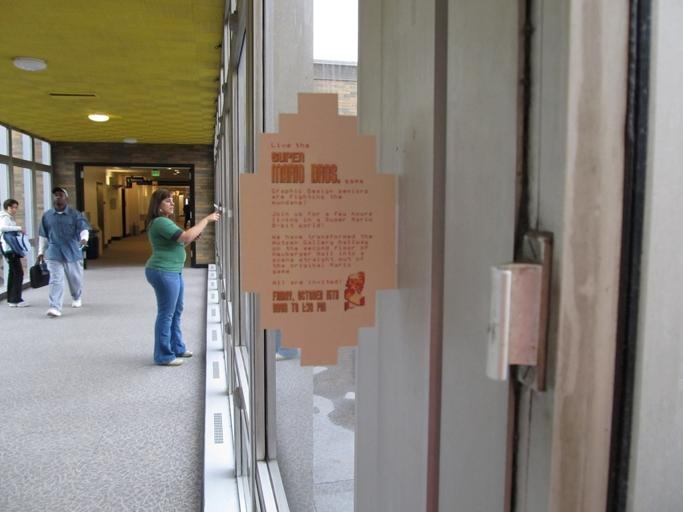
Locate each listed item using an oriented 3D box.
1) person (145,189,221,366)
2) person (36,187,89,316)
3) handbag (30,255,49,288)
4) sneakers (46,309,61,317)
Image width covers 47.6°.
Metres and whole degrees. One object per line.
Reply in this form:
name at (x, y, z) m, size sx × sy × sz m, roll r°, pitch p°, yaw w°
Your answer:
person at (-0.987, 0.132, 4.762) m, size 0.395 × 1.055 × 0.970 m, roll 0°, pitch 4°, yaw -14°
person at (-2.430, -0.044, 6.821) m, size 0.415 × 1.082 × 0.792 m, roll -1°, pitch 4°, yaw -21°
handbag at (-2.825, 0.170, 7.275) m, size 0.121 × 0.372 × 0.350 m, roll -2°, pitch 3°, yaw 1°
sneakers at (-2.411, 0.480, 6.517) m, size 0.106 × 0.074 × 0.174 m, roll -1°, pitch 5°, yaw -22°
